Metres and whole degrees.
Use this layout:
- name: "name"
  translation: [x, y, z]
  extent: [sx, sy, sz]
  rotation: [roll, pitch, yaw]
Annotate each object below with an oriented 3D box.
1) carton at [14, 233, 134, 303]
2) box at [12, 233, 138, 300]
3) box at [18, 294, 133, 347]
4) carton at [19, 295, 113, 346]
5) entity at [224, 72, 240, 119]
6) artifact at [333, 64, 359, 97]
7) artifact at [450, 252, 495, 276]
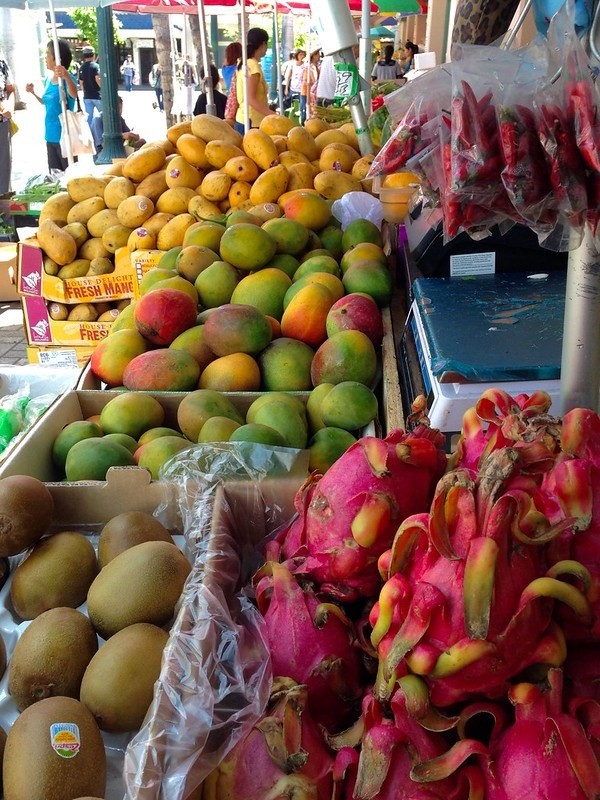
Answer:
- name: "carton"
  translation: [-1.256, -0.860, 3.828]
  extent: [0.875, 0.370, 0.634]
  rotation: [0, 15, 18]
- name: "box"
  translation: [-1.407, -0.717, 3.452]
  extent: [0.629, 0.270, 0.443]
  rotation: [-1, 3, -11]
- name: "box"
  translation: [-1.482, -0.443, 3.604]
  extent: [0.556, 0.217, 0.511]
  rotation: [-2, 12, -8]
- name: "carton"
  translation: [-1.499, -0.438, 3.759]
  extent: [0.524, 0.301, 0.485]
  rotation: [0, 12, -5]
- name: "entity"
  translation: [-0.774, -3.515, 6.693]
  extent: [0.149, 0.571, 0.140]
  rotation: [-10, 31, -35]
- name: "artifact"
  translation: [0.204, -1.342, 2.441]
  extent: [0.091, 0.136, 0.097]
  rotation: [-2, 19, 1]
- name: "artifact"
  translation: [0.506, -0.386, 1.662]
  extent: [0.115, 0.065, 0.023]
  rotation: [0, 7, 11]
